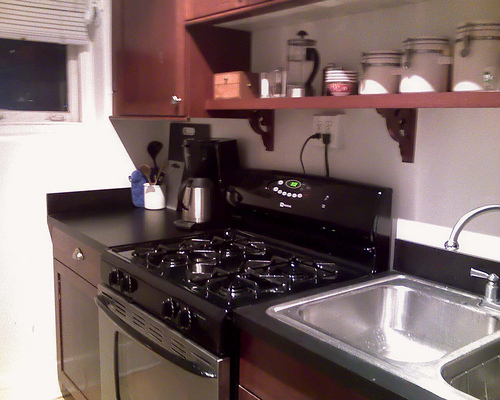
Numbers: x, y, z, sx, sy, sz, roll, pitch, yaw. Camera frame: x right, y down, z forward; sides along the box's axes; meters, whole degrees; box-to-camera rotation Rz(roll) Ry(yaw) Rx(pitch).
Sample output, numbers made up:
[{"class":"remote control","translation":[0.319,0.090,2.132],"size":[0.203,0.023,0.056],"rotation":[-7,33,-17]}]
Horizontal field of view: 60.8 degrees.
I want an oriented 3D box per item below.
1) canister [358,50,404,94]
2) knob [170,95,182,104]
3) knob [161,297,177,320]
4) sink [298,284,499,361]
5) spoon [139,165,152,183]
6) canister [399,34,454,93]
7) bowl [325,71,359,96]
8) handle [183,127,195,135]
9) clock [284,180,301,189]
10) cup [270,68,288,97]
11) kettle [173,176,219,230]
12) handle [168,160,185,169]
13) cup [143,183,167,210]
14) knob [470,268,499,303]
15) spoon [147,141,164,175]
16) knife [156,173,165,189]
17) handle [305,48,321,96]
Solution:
[{"class":"canister","translation":[0.407,-0.401,1.340],"size":[0.137,0.133,0.135],"rotation":[11,17,36]},{"class":"knob","translation":[-0.339,-0.451,1.921],"size":[0.049,0.021,0.037],"rotation":[12,11,-19]},{"class":"knob","translation":[-0.266,0.345,1.369],"size":[0.025,0.050,0.071],"rotation":[7,45,-32]},{"class":"sink","translation":[0.431,0.396,1.337],"size":[0.318,0.128,0.319],"rotation":[-7,17,-35]},{"class":"spoon","translation":[-0.621,-0.171,2.513],"size":[0.035,0.157,0.023],"rotation":[-15,-19,-5]},{"class":"canister","translation":[0.507,-0.396,1.298],"size":[0.164,0.169,0.161],"rotation":[2,7,11]},{"class":"bowl","translation":[0.308,-0.395,1.442],"size":[0.109,0.084,0.128],"rotation":[4,13,11]},{"class":"handle","translation":[-0.373,-0.415,2.550],"size":[0.048,0.033,0.049],"rotation":[2,10,-3]},{"class":"clock","translation":[0.177,-0.069,1.800],"size":[0.087,0.034,0.027],"rotation":[13,17,41]},{"class":"cup","translation":[0.107,-0.456,1.659],"size":[0.073,0.102,0.037],"rotation":[4,12,11]},{"class":"kettle","translation":[-0.279,0.014,2.074],"size":[0.139,0.251,0.238],"rotation":[4,7,24]},{"class":"handle","translation":[-0.442,-0.212,2.514],"size":[0.033,0.042,0.163],"rotation":[-9,17,-40]},{"class":"cup","translation":[-0.560,-0.021,2.466],"size":[0.147,0.137,0.119],"rotation":[1,4,-19]},{"class":"knob","translation":[0.723,0.251,1.311],"size":[0.079,0.082,0.119],"rotation":[7,14,21]},{"class":"spoon","translation":[-0.584,-0.264,2.597],"size":[0.093,0.183,0.166],"rotation":[-1,13,-11]},{"class":"knife","translation":[-0.533,-0.109,2.508],"size":[0.050,0.069,0.064],"rotation":[17,-22,-16]},{"class":"handle","translation":[0.248,-0.506,1.697],"size":[0.052,0.180,0.224],"rotation":[3,13,8]}]
